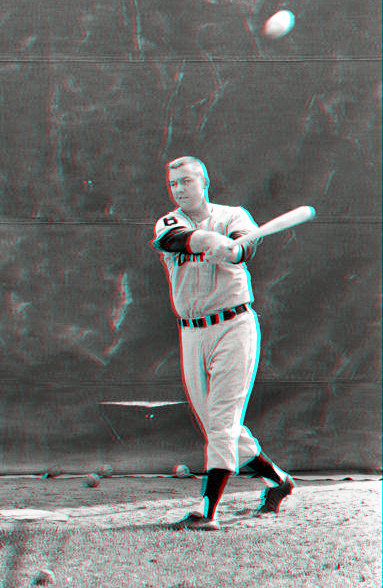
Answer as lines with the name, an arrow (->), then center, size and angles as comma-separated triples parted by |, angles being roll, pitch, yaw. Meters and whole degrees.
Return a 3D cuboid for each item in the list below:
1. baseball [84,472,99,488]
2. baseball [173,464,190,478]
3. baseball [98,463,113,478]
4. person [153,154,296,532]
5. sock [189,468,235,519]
baseball -> -0.674, 1.279, 4.760 | 0.082, 0.085, 0.079 | -9, 40, 48
baseball -> -0.070, 1.259, 4.913 | 0.118, 0.076, 0.059 | 0, 12, -3
baseball -> -0.614, 1.256, 4.950 | 0.077, 0.091, 0.092 | -4, 35, -17
person -> 0.184, 0.296, 4.216 | 0.809, 2.198, 0.971 | 0, 12, -5
sock -> 0.123, 1.172, 4.012 | 0.221, 0.372, 0.144 | -8, 15, -35
